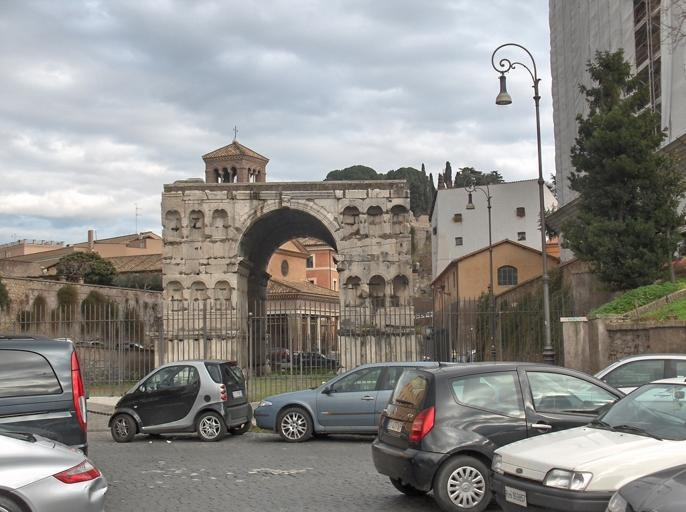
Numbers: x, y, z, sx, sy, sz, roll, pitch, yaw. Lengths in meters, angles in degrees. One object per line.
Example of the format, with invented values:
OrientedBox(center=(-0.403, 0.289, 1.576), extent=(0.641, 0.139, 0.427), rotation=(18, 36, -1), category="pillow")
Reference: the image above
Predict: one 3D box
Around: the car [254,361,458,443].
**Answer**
OrientedBox(center=(0.250, 3.179, 20.014), extent=(4.008, 1.506, 1.817), rotation=(0, -7, 15), category="car")

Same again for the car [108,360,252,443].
OrientedBox(center=(-3.685, 3.263, 20.843), extent=(2.643, 1.530, 1.645), rotation=(1, -8, 5), category="car")
